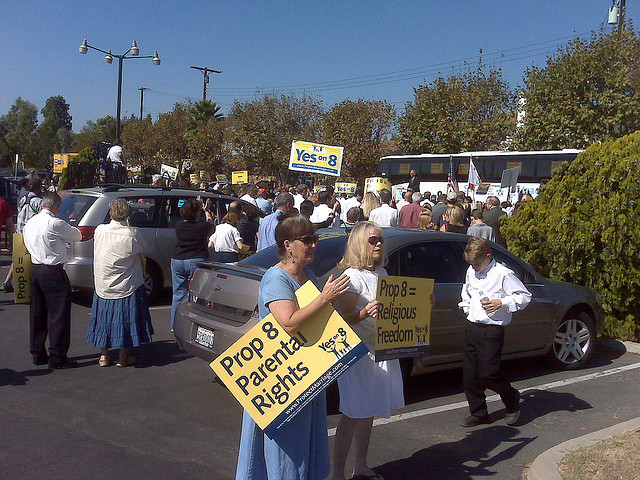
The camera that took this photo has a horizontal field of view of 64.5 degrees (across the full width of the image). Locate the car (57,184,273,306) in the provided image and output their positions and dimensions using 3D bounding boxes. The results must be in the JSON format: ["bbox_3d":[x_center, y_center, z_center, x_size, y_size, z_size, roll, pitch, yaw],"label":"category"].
[{"bbox_3d":[-3.049,-0.151,10.383,4.027,1.742,2.029,-5,4,-38],"label":"car"}]

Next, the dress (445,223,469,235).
[{"bbox_3d":[2.663,-0.213,9.771,0.420,0.266,0.423,10,8,6],"label":"dress"}]

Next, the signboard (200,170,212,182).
[{"bbox_3d":[-7.009,-3.809,30.330,0.819,0.833,0.194,5,-33,-36],"label":"signboard"}]

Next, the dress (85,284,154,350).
[{"bbox_3d":[-2.686,0.789,6.761,0.867,1.101,0.741,1,21,-19],"label":"dress"}]

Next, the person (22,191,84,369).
[{"bbox_3d":[-3.510,0.505,6.658,0.567,2.249,0.763,-3,8,-37],"label":"person"}]

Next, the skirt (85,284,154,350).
[{"bbox_3d":[-2.740,0.911,6.823,0.873,1.060,0.708,-1,-4,-8],"label":"skirt"}]

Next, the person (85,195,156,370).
[{"bbox_3d":[-2.623,0.566,6.636,0.805,2.203,0.475,-1,6,-24],"label":"person"}]

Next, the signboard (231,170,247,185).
[{"bbox_3d":[-4.024,-3.172,25.458,0.395,0.577,1.346,-2,7,-28],"label":"signboard"}]

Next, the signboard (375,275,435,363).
[{"bbox_3d":[0.669,0.620,4.077,0.890,0.969,0.041,2,-4,-43],"label":"signboard"}]

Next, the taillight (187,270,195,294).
[{"bbox_3d":[-1.609,0.494,6.309,0.074,0.229,0.558,0,7,-14],"label":"taillight"}]

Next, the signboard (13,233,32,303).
[{"bbox_3d":[-4.307,0.423,7.325,0.204,1.033,0.720,-3,7,-34],"label":"signboard"}]

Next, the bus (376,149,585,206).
[{"bbox_3d":[8.843,-3.926,30.197,1.813,2.828,11.994,-3,9,-39],"label":"bus"}]

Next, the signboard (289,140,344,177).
[{"bbox_3d":[-0.116,-2.156,13.289,1.370,0.878,0.645,2,6,-2],"label":"signboard"}]
